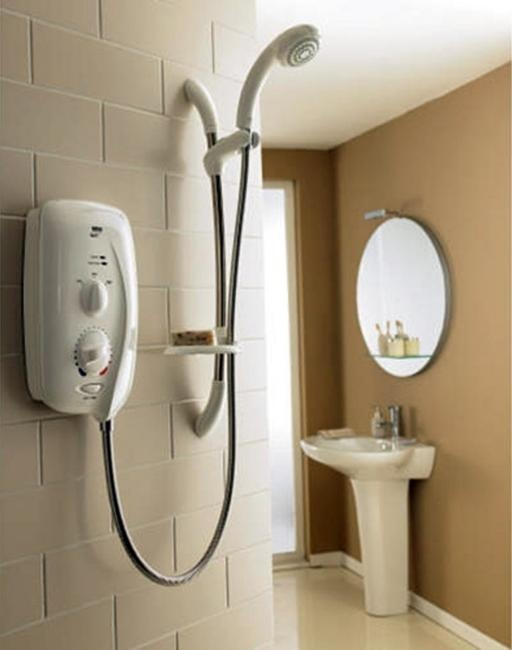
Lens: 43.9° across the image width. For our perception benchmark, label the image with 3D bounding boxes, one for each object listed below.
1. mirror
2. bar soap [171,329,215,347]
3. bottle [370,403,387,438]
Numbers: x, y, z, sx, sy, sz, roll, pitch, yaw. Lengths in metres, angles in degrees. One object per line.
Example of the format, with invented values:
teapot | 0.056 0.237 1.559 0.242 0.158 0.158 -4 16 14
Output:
mirror | 0.288 -0.065 1.291 0.185 0.357 0.026 -8 -30 18
bar soap | -0.102 0.021 1.009 0.063 0.024 0.112 2 1 -9
bottle | 0.248 0.194 1.286 0.041 0.095 0.045 -1 4 0
